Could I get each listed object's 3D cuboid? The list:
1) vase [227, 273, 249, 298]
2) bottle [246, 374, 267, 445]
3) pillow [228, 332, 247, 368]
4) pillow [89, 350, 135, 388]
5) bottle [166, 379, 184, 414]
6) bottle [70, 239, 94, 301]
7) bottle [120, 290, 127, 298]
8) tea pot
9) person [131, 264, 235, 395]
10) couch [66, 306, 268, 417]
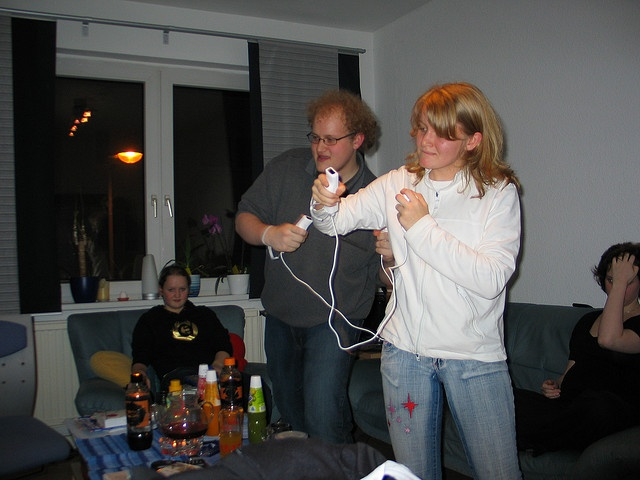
[{"bbox_3d":[-0.632,0.343,4.090,0.156,0.127,0.138,-3,-2,6],"label":"vase"},{"bbox_3d":[-0.284,0.742,2.330,0.084,0.297,0.178,-3,5,-9],"label":"bottle"},{"bbox_3d":[-0.535,0.720,3.450,0.132,0.173,0.174,-3,-13,-11],"label":"pillow"},{"bbox_3d":[-1.296,0.766,3.267,0.278,0.127,0.366,11,-3,-14],"label":"pillow"},{"bbox_3d":[-0.667,0.714,2.421,0.076,0.145,0.079,1,-2,0],"label":"bottle"},{"bbox_3d":[-1.693,0.223,3.755,0.164,0.414,0.253,-6,6,-29],"label":"bottle"},{"bbox_3d":[-1.445,0.395,3.888,0.040,0.045,0.044,3,6,18],"label":"bottle"},{"bbox_3d":[-0.601,0.811,2.385,0.232,0.237,0.182,9,-1,-28],"label":"tea pot"},{"bbox_3d":[-0.851,0.543,3.630,0.699,1.003,0.603,0,-22,-35],"label":"person"},{"bbox_3d":[-0.963,0.844,3.405,1.205,0.888,0.666,2,-18,-33],"label":"couch"}]
